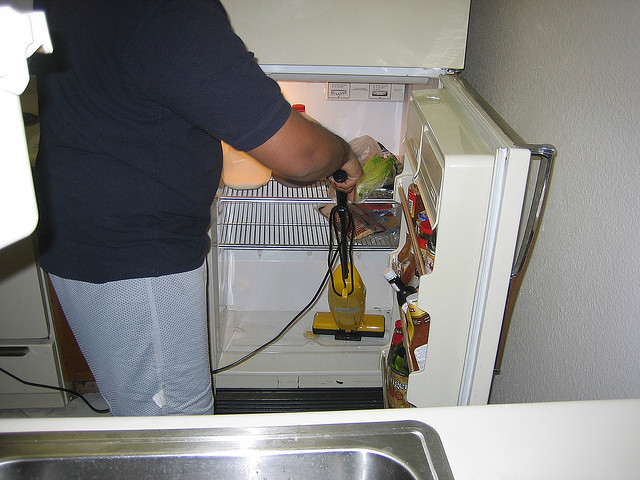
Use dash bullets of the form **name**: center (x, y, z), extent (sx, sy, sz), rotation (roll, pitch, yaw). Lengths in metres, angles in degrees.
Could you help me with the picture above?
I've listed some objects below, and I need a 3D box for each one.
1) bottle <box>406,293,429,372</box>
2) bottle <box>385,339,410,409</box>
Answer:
- **bottle**: center (0.229, 0.217, 1.201), extent (0.056, 0.199, 0.070), rotation (5, 19, 6)
- **bottle**: center (0.228, 0.425, 1.479), extent (0.057, 0.220, 0.153), rotation (4, 19, 3)
